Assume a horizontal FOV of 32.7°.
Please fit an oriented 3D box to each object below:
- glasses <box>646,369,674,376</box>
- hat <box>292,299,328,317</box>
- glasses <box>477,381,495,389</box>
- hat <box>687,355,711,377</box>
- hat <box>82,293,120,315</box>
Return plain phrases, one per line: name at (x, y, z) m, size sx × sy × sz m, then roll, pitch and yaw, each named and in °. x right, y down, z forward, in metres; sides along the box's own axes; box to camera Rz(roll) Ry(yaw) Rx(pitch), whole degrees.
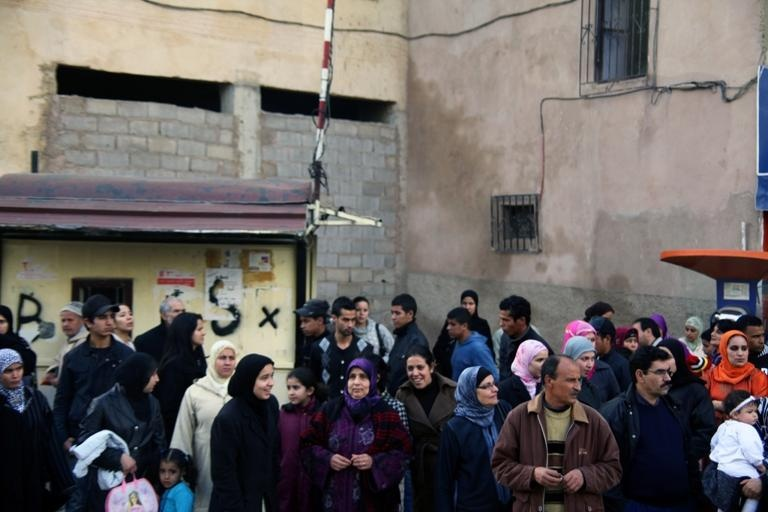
glasses at (3.268, 1.380, 15.446) m, size 0.233 × 0.072 × 0.070 m, roll 0°, pitch -1°, yaw -18°
hat at (-0.941, 0.713, 17.694) m, size 0.345 × 0.154 × 0.239 m, roll 1°, pitch -3°, yaw -5°
glasses at (1.226, 1.539, 15.468) m, size 0.225 × 0.094 × 0.051 m, roll 0°, pitch -1°, yaw -11°
hat at (4.177, 1.475, 17.318) m, size 0.213 × 0.103 × 0.288 m, roll 33°, pitch -6°, yaw -33°
hat at (-3.574, 0.651, 16.583) m, size 0.342 × 0.177 × 0.254 m, roll -17°, pitch 0°, yaw 15°
